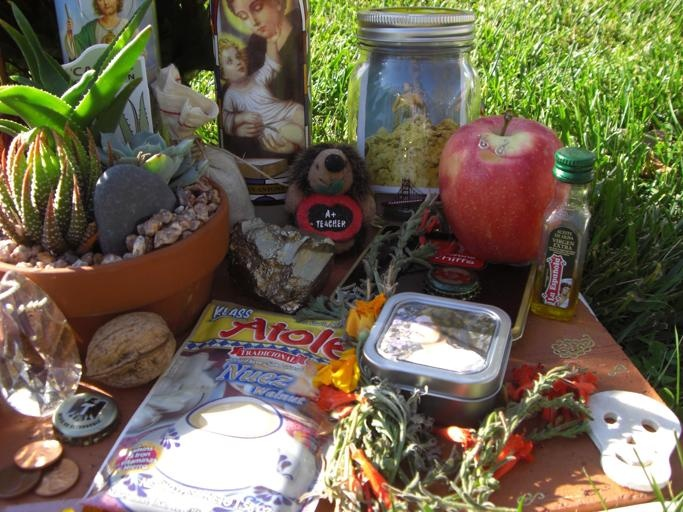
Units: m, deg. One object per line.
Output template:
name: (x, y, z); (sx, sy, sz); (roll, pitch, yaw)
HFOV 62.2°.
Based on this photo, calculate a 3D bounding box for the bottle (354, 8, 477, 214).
bottle: (0.152, -0.297, 1.142); (0.219, 0.472, 0.218); (-1, 23, 0)

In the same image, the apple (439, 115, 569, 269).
apple: (0.274, -0.120, 1.034); (0.204, 0.281, 0.223); (7, 27, 20)
